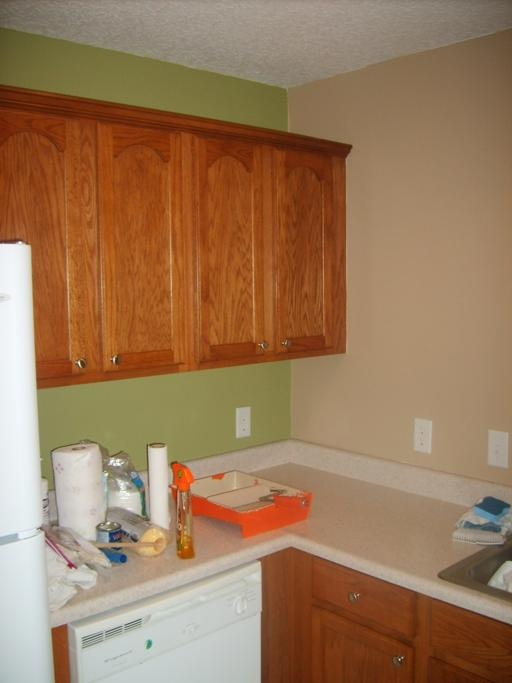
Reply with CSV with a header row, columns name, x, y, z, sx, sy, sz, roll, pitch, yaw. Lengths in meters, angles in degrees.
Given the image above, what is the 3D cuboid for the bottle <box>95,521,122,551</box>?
name,x,y,z,sx,sy,sz,roll,pitch,yaw
bottle,-0.387,0.512,1.494,0.055,0.059,0.054,0,-1,14

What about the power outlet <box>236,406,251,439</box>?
name,x,y,z,sx,sy,sz,roll,pitch,yaw
power outlet,-0.056,0.341,2.369,0.009,0.135,0.086,3,3,43

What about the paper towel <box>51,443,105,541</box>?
name,x,y,z,sx,sy,sz,roll,pitch,yaw
paper towel,-0.481,0.416,1.574,0.118,0.253,0.142,2,3,25
